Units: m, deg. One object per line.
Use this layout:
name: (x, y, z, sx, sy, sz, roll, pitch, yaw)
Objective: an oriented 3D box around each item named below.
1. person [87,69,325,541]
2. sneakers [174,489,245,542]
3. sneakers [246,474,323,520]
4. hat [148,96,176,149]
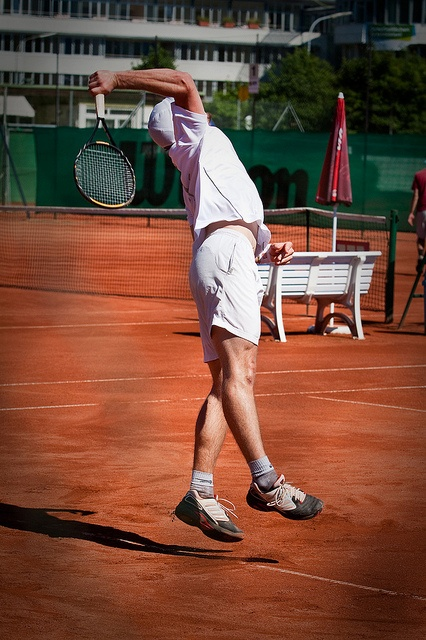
person: (0.011, -0.058, 2.798, 0.761, 1.553, 0.468, 2, 5, 15)
sneakers: (-0.014, 0.666, 2.670, 0.218, 0.198, 0.118, 1, 5, -6)
sneakers: (0.252, 0.595, 2.801, 0.264, 0.133, 0.135, 11, 37, 3)
hat: (-0.195, -0.724, 2.935, 0.075, 0.167, 0.129, 9, 28, 23)
